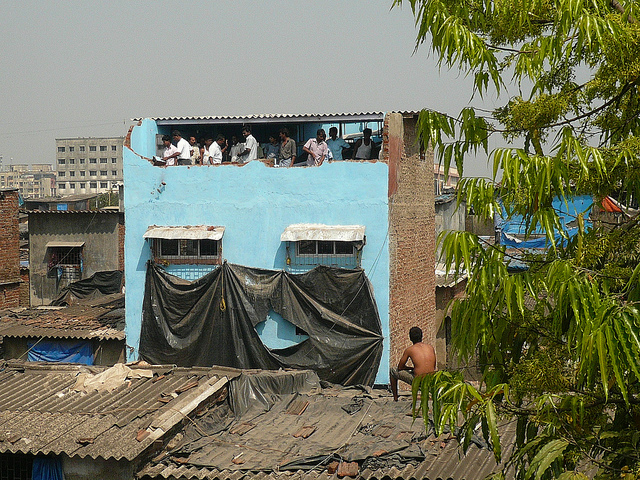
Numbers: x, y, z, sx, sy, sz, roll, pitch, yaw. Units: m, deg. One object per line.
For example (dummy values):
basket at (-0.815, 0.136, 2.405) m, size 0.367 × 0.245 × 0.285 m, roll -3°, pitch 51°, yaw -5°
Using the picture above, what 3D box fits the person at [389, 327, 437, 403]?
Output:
person at (1.548, 2.034, 16.237) m, size 0.657 × 1.396 × 0.786 m, roll -9°, pitch 17°, yaw -42°
